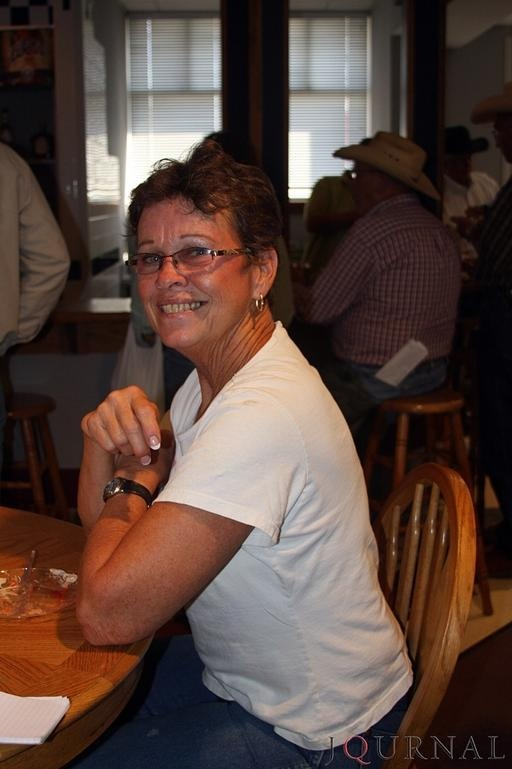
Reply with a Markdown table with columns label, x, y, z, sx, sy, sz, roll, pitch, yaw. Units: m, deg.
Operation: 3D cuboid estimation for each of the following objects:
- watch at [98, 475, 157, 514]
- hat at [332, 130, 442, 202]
| label | x | y | z | sx | sy | sz | roll | pitch | yaw |
| --- | --- | --- | --- | --- | --- | --- | --- | --- | --- |
| watch | -0.165 | 0.132 | 0.814 | 0.057 | 0.055 | 0.037 | -3 | 39 | 32 |
| hat | 0.440 | -0.766 | 2.173 | 0.283 | 0.109 | 0.244 | 30 | 6 | 5 |
